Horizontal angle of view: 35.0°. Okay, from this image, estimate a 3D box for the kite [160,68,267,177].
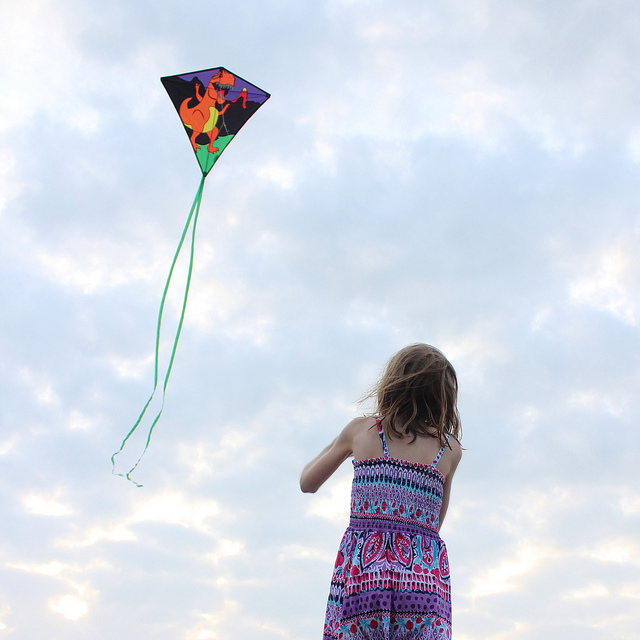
[{"bbox_3d":[-0.763,-1.385,7.220,0.761,1.118,0.053,6,-27,-3],"label":"kite"}]

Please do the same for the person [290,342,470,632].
[{"bbox_3d":[0.242,0.618,3.695,0.537,0.977,0.448,7,-36,-1],"label":"person"}]

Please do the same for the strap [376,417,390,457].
[{"bbox_3d":[0.234,0.428,3.701,0.022,0.144,0.014,-12,-29,1],"label":"strap"}]

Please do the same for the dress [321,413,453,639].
[{"bbox_3d":[0.265,0.785,3.664,0.440,0.748,0.345,6,-36,0],"label":"dress"}]
